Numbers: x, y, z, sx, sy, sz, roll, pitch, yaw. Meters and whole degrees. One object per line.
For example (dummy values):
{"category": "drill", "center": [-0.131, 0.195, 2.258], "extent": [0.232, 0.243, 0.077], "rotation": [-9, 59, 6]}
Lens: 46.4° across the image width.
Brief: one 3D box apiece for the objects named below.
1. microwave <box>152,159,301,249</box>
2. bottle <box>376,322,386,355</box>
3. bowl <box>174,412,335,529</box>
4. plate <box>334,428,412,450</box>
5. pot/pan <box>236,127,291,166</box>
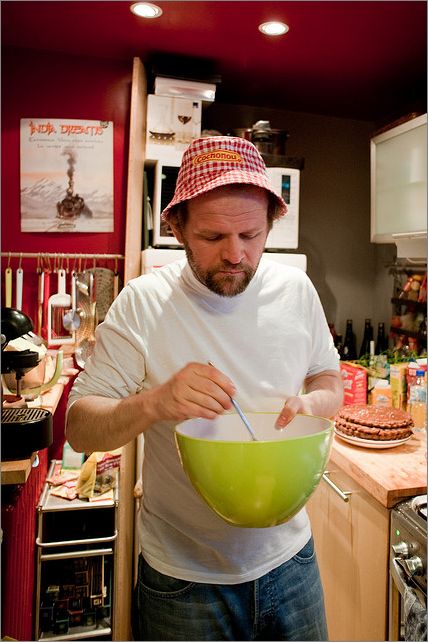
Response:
{"category": "microwave", "center": [0.053, -0.518, 2.213], "extent": [0.634, 0.424, 0.341], "rotation": [-8, 13, -40]}
{"category": "bottle", "center": [0.970, 0.101, 2.903], "extent": [0.072, 0.177, 0.109], "rotation": [0, 2, -2]}
{"category": "bowl", "center": [0.051, 0.221, 0.704], "extent": [0.189, 0.119, 0.185], "rotation": [3, -10, 0]}
{"category": "plate", "center": [0.545, 0.416, 1.694], "extent": [0.208, 0.045, 0.212], "rotation": [-1, -1, 38]}
{"category": "pot/pan", "center": [0.236, -0.766, 2.275], "extent": [0.219, 0.191, 0.208], "rotation": [-1, 14, 2]}
